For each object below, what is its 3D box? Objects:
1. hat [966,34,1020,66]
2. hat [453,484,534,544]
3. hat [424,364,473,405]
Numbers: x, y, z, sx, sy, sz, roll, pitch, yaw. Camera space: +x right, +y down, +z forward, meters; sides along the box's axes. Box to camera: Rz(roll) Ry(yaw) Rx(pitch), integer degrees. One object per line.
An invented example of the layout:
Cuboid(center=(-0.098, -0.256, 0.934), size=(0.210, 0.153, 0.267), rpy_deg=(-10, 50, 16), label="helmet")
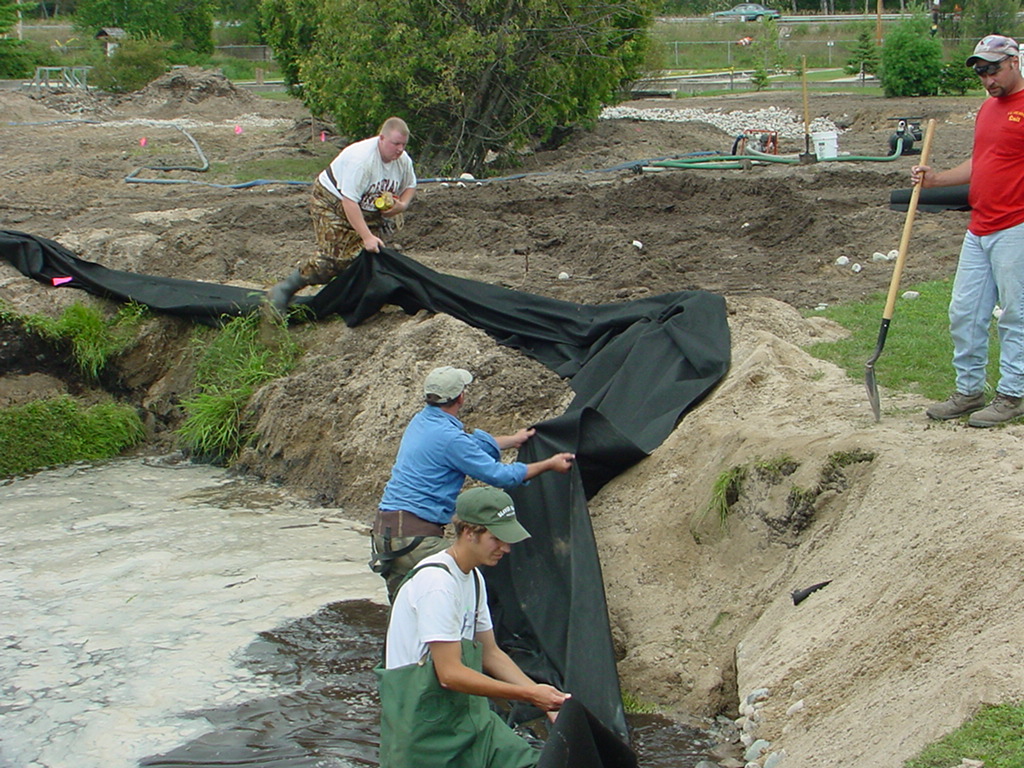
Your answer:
Cuboid(center=(3.876, -2.679, 10.827), size=(0.414, 0.162, 0.243), rpy_deg=(-1, 9, -26), label="hat")
Cuboid(center=(-0.120, 0.872, 9.517), size=(0.442, 0.279, 0.639), rpy_deg=(-12, 21, -41), label="hat")
Cuboid(center=(-0.540, -0.001, 10.750), size=(0.264, 0.185, 0.361), rpy_deg=(18, 44, 32), label="hat")
